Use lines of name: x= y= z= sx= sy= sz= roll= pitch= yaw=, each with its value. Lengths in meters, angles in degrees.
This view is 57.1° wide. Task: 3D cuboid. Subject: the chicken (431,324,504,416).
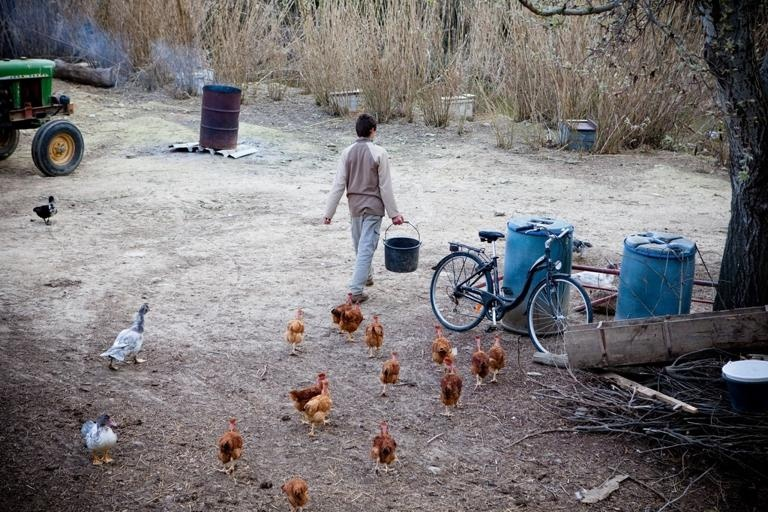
chicken: x=0.950 y=1.257 z=7.960 sx=0.796 sy=0.681 sz=1.119 roll=4 pitch=16 yaw=4

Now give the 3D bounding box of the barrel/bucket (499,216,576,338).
barrel/bucket: x=1.877 y=0.288 z=8.712 sx=0.782 sy=1.399 sz=0.566 roll=5 pitch=16 yaw=8

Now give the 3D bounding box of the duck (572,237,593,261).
duck: x=3.088 y=-0.124 z=10.988 sx=0.326 sy=0.166 sz=0.474 roll=0 pitch=17 yaw=11

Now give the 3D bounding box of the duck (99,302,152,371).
duck: x=-2.912 y=0.945 z=7.961 sx=0.470 sy=0.630 sz=0.536 roll=-2 pitch=17 yaw=-17

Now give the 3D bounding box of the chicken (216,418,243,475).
chicken: x=-1.469 y=1.841 z=6.856 sx=0.193 sy=0.467 sz=0.307 roll=8 pitch=17 yaw=17

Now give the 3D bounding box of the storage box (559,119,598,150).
storage box: x=4.783 y=-2.934 z=17.250 sx=0.870 sy=0.530 sz=0.853 roll=-2 pitch=20 yaw=-11

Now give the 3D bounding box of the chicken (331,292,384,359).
chicken: x=-0.297 y=0.860 z=8.682 sx=0.590 sy=0.509 sz=0.913 roll=-2 pitch=16 yaw=-16

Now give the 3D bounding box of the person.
person: x=-0.239 y=-0.525 z=9.506 sx=0.958 sy=2.568 sz=1.391 roll=2 pitch=-1 yaw=0

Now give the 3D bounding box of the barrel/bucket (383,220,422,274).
barrel/bucket: x=0.275 y=-0.095 z=10.146 sx=0.509 sy=0.759 sz=1.107 roll=3 pitch=-11 yaw=0

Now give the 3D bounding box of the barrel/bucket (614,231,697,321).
barrel/bucket: x=3.175 y=0.332 z=8.243 sx=0.784 sy=1.002 sz=0.328 roll=8 pitch=17 yaw=17

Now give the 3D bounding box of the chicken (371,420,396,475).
chicken: x=0.016 y=1.826 z=6.978 sx=0.256 sy=0.502 sz=0.455 roll=3 pitch=16 yaw=0

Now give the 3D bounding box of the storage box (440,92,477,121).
storage box: x=2.050 y=-4.160 z=19.762 sx=1.124 sy=0.694 sz=0.664 roll=-12 pitch=20 yaw=-36

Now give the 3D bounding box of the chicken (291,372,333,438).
chicken: x=-0.716 y=1.530 z=7.291 sx=0.432 sy=0.569 sz=0.299 roll=-8 pitch=19 yaw=-34

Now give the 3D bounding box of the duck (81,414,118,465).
duck: x=-2.770 y=1.760 z=6.861 sx=0.343 sy=0.478 sz=0.285 roll=0 pitch=16 yaw=-10

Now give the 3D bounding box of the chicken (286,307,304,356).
chicken: x=-1.067 y=0.865 z=8.600 sx=0.218 sy=0.470 sz=0.662 roll=1 pitch=16 yaw=-7

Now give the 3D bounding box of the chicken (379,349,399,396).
chicken: x=0.070 y=1.276 z=7.879 sx=0.200 sy=0.425 sz=0.568 roll=6 pitch=-4 yaw=9

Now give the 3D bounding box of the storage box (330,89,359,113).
storage box: x=-1.007 y=-4.382 z=19.911 sx=0.808 sy=0.333 sz=0.691 roll=-14 pitch=25 yaw=-33
